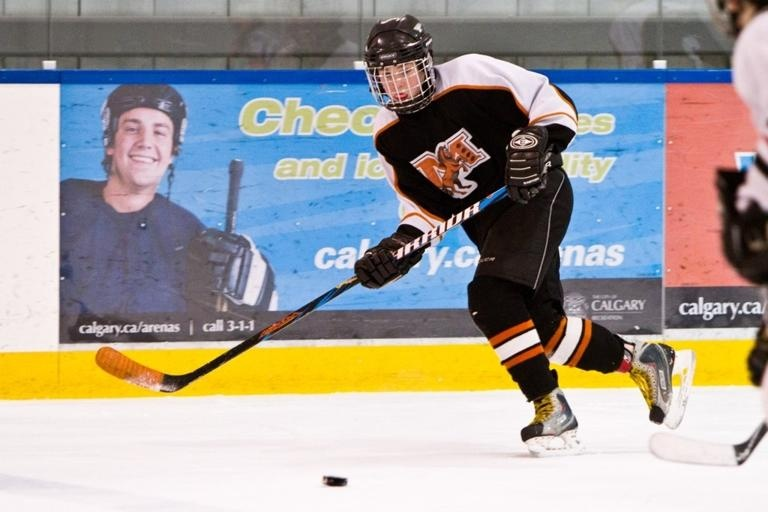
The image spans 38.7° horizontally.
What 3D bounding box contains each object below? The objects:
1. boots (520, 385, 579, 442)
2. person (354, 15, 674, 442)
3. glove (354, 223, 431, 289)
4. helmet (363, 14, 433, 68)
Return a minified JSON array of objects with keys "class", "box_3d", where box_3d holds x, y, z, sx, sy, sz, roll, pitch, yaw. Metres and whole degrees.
[{"class":"boots","box_3d":[0.653,0.653,4.447,0.327,0.207,0.110,0,-12,-44]},{"class":"person","box_3d":[0.527,-0.119,4.589,1.239,1.788,0.639,3,11,23]},{"class":"glove","box_3d":[0.033,0.031,4.741,0.340,0.128,0.197,-29,49,3]},{"class":"helmet","box_3d":[0.086,-0.909,4.619,0.225,0.217,0.259,-10,11,21]}]
